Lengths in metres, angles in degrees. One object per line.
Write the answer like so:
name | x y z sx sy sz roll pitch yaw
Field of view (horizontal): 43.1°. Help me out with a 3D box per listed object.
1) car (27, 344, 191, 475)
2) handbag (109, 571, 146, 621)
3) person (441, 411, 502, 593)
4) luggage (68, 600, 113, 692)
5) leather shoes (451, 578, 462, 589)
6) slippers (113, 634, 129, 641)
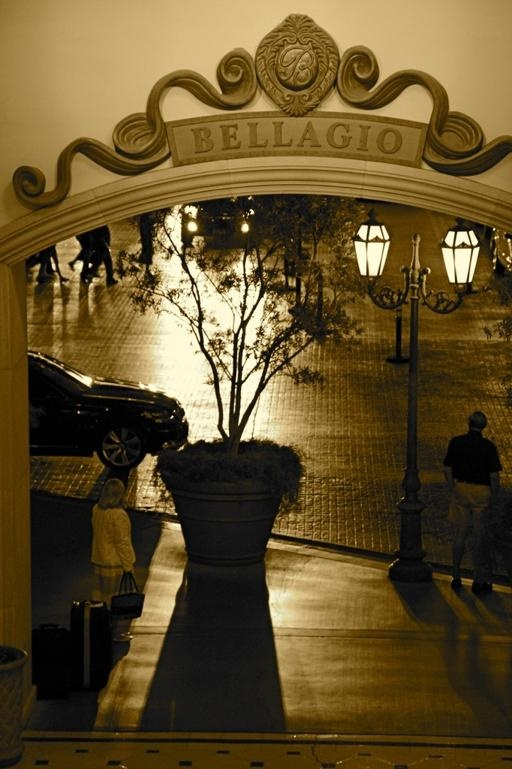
car | -2.543 0.539 10.974 3.177 1.139 1.373 0 10 -4
handbag | -1.120 1.846 5.679 0.293 0.414 0.104 6 -25 -26
person | 2.342 1.225 7.123 0.543 1.796 1.373 1 0 17
luggage | -1.199 1.870 4.723 0.303 0.590 0.361 -4 -11 5
leather shoes | 2.119 2.103 6.849 0.105 0.109 0.189 1 3 7
slippers | -1.166 2.174 5.582 0.134 0.005 0.162 1 0 -12
